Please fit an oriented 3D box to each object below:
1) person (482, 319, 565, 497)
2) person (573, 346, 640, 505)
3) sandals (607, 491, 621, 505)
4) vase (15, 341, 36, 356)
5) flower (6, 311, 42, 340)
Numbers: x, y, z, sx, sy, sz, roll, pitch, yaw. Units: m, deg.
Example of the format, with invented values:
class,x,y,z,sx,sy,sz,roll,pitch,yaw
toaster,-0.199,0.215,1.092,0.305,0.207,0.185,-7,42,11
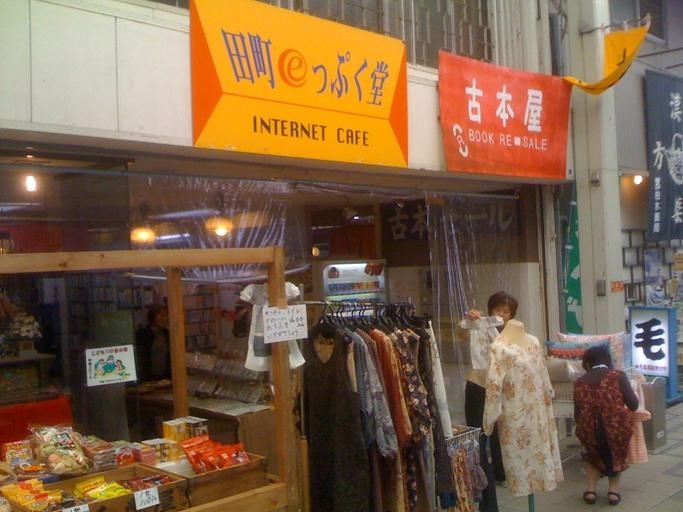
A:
class,x,y,z,sx,sy,sz,roll,pitch,yaw
person,1.482,1.233,5.013,0.740,1.095,0.262,-3,-3,-24
person,2.494,1.570,5.718,0.552,1.236,0.409,-5,-3,20
sandals,2.519,2.223,5.610,0.057,0.065,0.162,-1,-3,19
vase,-2.183,0.633,4.203,0.131,0.130,0.083,-2,8,-43
flower,-2.196,0.477,4.188,0.200,0.189,0.050,-2,-3,-42
